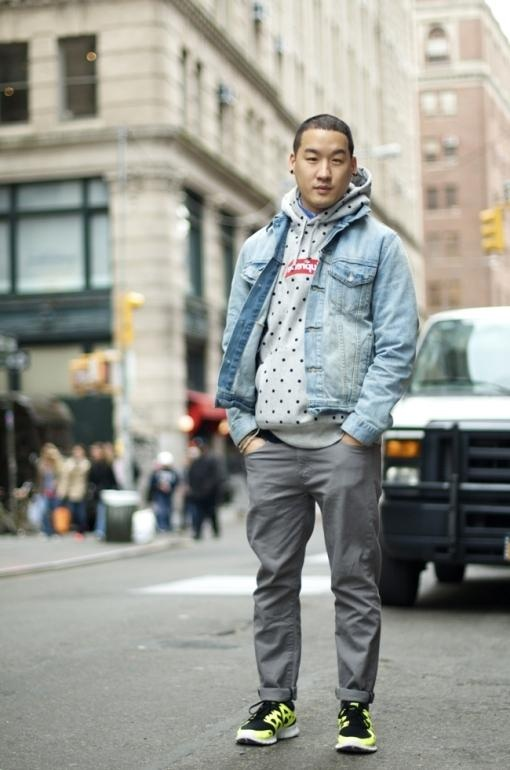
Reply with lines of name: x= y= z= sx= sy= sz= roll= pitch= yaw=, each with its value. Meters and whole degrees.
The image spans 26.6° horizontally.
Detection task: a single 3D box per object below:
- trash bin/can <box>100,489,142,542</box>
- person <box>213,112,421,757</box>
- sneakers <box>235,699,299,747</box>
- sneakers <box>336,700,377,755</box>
trash bin/can: x=-1.688 y=1.738 z=14.229 sx=0.694 sy=0.710 sz=0.628 roll=-1 pitch=-3 yaw=2
person: x=0.195 y=0.120 z=3.483 sx=0.676 sy=2.026 sz=0.448 roll=-3 pitch=-2 yaw=14
sneakers: x=0.040 y=1.068 z=3.418 sx=0.160 sy=0.121 sz=0.239 roll=-2 pitch=-2 yaw=16
sneakers: x=0.308 y=1.049 z=3.311 sx=0.126 sy=0.139 sz=0.209 roll=-2 pitch=-2 yaw=5
